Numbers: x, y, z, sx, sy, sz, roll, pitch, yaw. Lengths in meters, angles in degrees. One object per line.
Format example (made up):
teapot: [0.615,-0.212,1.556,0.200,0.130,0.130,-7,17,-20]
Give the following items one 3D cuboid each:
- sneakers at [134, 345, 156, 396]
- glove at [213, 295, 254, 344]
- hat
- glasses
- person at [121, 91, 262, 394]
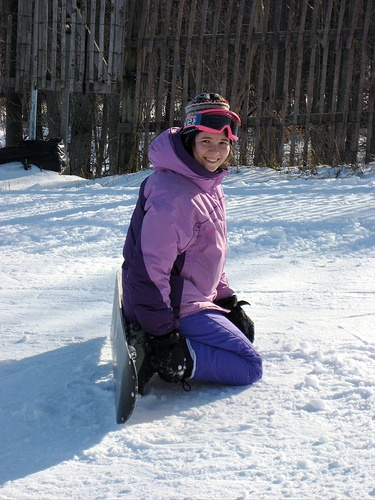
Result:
sneakers: [-0.184,0.507,2.599,0.062,0.226,0.064,33,36,32]
glove: [0.246,0.331,3.023,0.237,0.238,0.170,-2,8,6]
hat: [0.087,-0.613,2.791,0.223,0.156,0.193,-6,6,-22]
glasses: [0.097,-0.550,2.773,0.236,0.103,0.238,7,-1,-14]
person: [0.041,-0.033,2.746,0.649,1.278,0.613,3,14,-6]
